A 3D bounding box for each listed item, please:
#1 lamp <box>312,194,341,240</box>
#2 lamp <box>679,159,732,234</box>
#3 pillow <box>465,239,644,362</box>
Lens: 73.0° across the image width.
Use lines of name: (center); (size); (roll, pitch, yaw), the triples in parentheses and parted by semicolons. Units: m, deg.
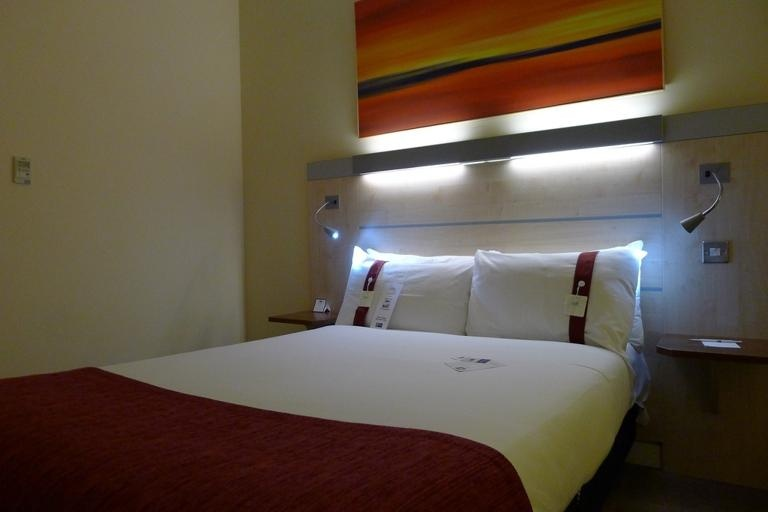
lamp: (-0.436, -0.290, 4.000); (0.166, 0.320, 0.292); (-7, 15, -26)
lamp: (1.778, -0.324, 2.927); (0.265, 0.390, 0.150); (-9, 16, -32)
pillow: (0.960, 0.269, 2.890); (0.637, 0.478, 0.263); (-1, -36, 30)
